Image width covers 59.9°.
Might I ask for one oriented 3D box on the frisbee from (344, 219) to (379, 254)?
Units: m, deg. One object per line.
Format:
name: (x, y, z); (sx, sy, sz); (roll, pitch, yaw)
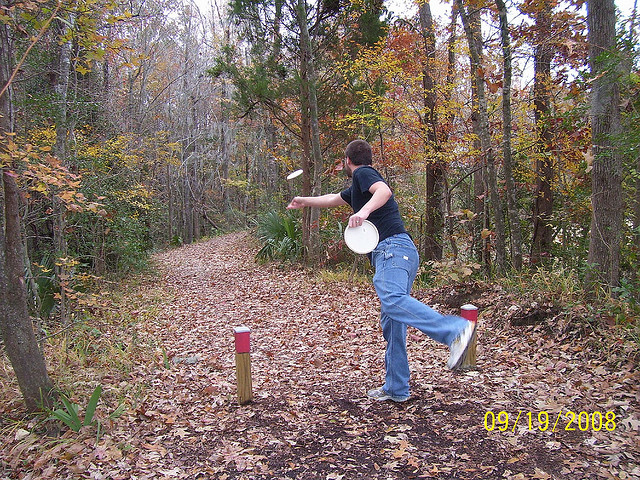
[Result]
frisbee: (0.482, -0.049, 6.061); (0.401, 0.351, 0.214); (-4, 2, -35)

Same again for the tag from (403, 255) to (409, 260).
tag: (0.929, 0.184, 6.019); (0.052, 0.034, 0.007); (0, -28, 4)
